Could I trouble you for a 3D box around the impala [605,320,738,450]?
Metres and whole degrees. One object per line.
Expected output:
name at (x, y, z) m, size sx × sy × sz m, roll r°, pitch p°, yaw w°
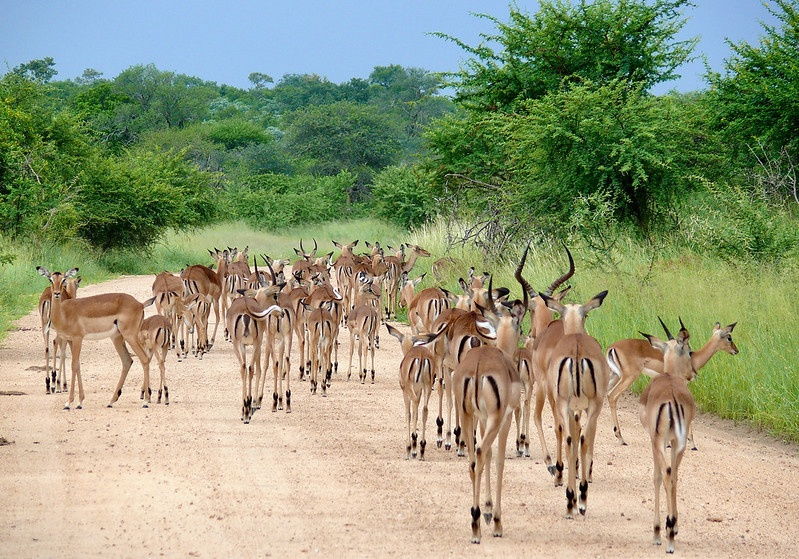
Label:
impala at (4.225, 1.582, 13.072) m, size 2.087 × 1.932 × 0.540 m, roll 2°, pitch -8°, yaw 2°
